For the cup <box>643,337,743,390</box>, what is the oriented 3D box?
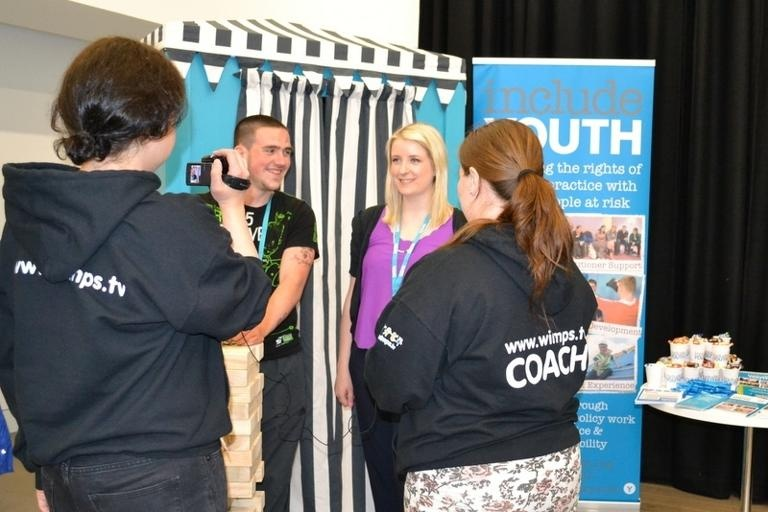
[{"bbox_3d":[1.735,0.551,4.086,0.391,0.242,0.327,-2,-2,27],"label":"cup"}]
